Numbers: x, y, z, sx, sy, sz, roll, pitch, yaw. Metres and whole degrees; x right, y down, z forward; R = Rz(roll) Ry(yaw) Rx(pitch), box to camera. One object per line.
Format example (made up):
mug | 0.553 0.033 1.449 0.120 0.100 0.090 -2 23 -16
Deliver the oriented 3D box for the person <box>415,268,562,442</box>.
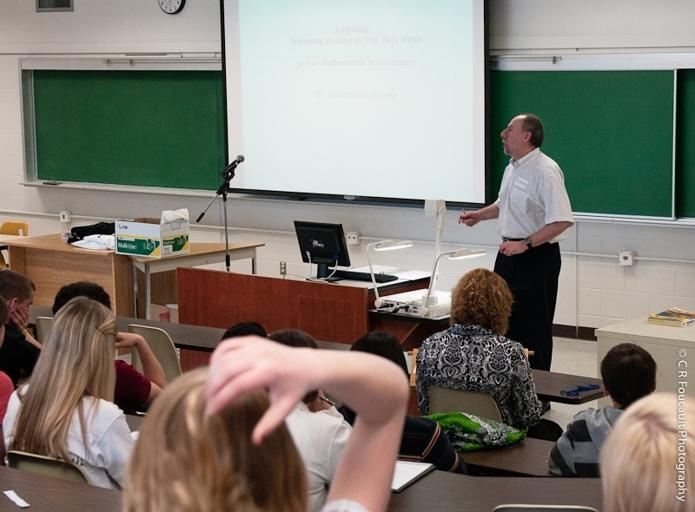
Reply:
person | 0.622 0.392 3.003 0.636 0.932 0.703 4 7 27

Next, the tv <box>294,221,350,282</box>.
tv | -0.186 -0.042 4.670 0.486 0.525 0.192 7 22 29

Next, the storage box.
storage box | -1.814 -0.262 5.476 0.503 0.331 0.494 6 8 39

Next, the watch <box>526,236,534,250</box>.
watch | 1.232 -0.087 4.020 0.047 0.073 0.076 -2 6 8
